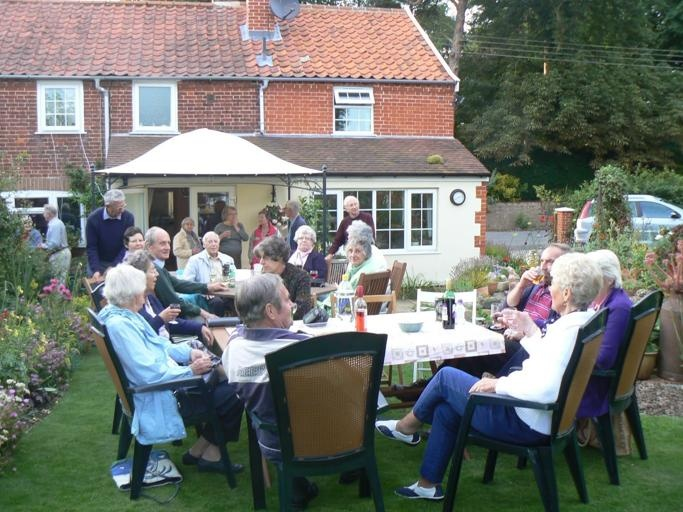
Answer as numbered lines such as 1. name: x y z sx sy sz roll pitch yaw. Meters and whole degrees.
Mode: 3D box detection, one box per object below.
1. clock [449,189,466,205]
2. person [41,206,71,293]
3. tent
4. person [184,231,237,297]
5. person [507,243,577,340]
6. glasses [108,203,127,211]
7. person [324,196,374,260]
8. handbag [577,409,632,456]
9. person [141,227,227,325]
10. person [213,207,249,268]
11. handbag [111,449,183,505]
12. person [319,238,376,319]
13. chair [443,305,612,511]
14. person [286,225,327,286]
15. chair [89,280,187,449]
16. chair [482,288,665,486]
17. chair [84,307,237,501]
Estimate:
1. clock: 2.674 -1.353 20.861 0.405 0.369 0.102 -2 4 -25
2. person: -5.702 -0.038 18.242 0.556 1.965 0.664 -4 9 -14
3. tent: -2.572 -1.265 17.973 3.039 2.325 2.485 -2 10 -19
4. person: -2.014 0.274 14.219 0.765 1.274 0.477 3 -13 -22
5. person: 2.678 0.421 12.299 0.622 1.477 0.811 1 9 -6
6. glasses: -3.492 -0.776 14.399 0.153 0.134 0.290 2 5 24
7. person: 0.102 -0.519 16.479 0.897 2.063 0.666 -1 22 5
8. handbag: 3.449 2.248 11.887 0.524 0.915 0.573 -2 1 -30
9. person: -2.300 0.362 12.971 0.892 1.569 0.836 -3 8 -37
10. person: -2.149 -0.446 17.841 0.492 1.320 0.549 -1 9 -13
11. handbag: -2.396 2.754 11.250 1.062 0.453 1.133 1 10 -21
12. person: 0.252 0.246 13.240 0.886 1.527 0.747 -1 2 -38
13. chair: 2.150 1.908 10.825 1.346 3.096 1.569 1 2 34
14. person: -0.502 -0.016 14.424 0.470 1.019 0.491 -1 7 -20
15. chair: -2.368 1.192 11.071 1.057 2.123 0.557 -1 4 -19
16. chair: 2.099 1.708 10.280 1.496 2.654 1.337 9 11 28
17. chair: -2.330 1.795 11.582 1.236 2.977 1.399 0 2 -12
